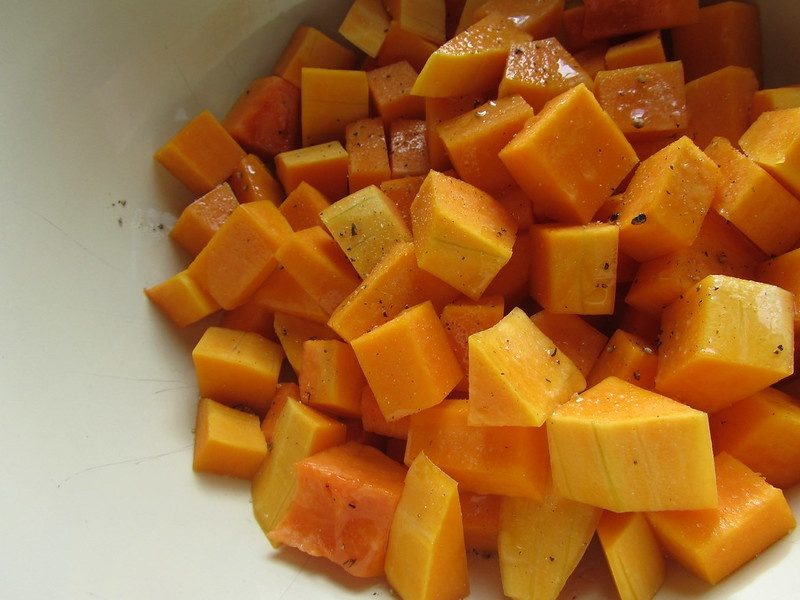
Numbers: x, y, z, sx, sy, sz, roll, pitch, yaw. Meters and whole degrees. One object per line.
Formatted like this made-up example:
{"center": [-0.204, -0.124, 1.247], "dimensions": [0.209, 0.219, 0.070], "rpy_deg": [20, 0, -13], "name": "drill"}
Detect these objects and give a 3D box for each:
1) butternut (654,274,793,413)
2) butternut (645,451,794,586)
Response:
{"center": [0.691, 0.088, 1.681], "dimensions": [0.302, 0.183, 0.200], "rpy_deg": [-12, 44, 21], "name": "butternut"}
{"center": [0.666, 0.465, 1.634], "dimensions": [0.228, 0.099, 0.247], "rpy_deg": [-39, 50, 3], "name": "butternut"}
